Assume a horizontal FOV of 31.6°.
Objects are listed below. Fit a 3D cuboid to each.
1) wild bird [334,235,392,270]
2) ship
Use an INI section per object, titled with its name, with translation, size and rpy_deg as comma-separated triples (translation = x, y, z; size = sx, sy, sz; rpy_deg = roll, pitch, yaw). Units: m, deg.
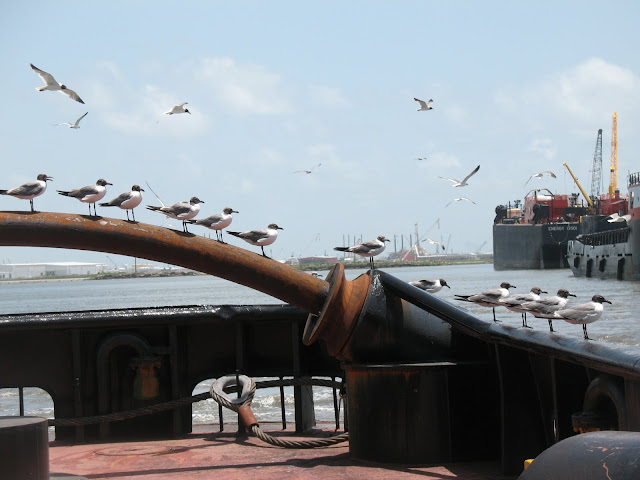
[wild bird]
translation = 0.671, 0.169, 15.204
size = 0.540, 0.427, 0.454
rpy_deg = 0, -4, -27
[ship]
translation = 23.814, -0.990, 110.265
size = 9.477, 8.689, 25.074
rpy_deg = 0, -2, 0
